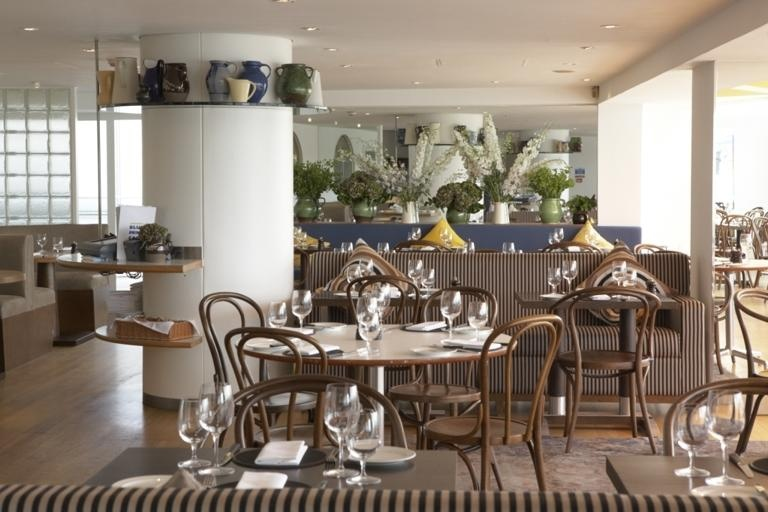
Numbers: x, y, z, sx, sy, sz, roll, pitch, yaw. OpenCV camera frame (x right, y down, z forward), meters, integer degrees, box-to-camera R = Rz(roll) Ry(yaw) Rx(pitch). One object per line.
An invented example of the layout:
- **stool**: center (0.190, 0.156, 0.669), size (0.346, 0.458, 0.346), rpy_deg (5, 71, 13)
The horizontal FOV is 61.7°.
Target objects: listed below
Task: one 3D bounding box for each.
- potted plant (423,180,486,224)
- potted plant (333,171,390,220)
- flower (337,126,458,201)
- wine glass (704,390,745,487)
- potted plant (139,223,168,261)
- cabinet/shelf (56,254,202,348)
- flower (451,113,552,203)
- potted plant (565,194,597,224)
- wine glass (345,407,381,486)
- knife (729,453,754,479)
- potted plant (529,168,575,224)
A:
- **potted plant**: center (0.910, -0.653, 8.423), size (0.598, 0.519, 0.587), rpy_deg (-1, 1, -44)
- **potted plant**: center (-0.334, -0.775, 8.530), size (0.683, 0.636, 0.623), rpy_deg (0, 2, 18)
- **flower**: center (0.227, -1.114, 9.253), size (1.437, 1.145, 1.438), rpy_deg (-5, 0, 30)
- **wine glass**: center (1.084, 0.577, 2.047), size (0.110, 0.267, 0.294), rpy_deg (3, 8, 27)
- **potted plant**: center (-1.754, -0.088, 4.991), size (0.317, 0.316, 0.247), rpy_deg (0, -1, -6)
- **cabinet/shelf**: center (-1.967, 0.350, 5.240), size (0.824, 0.487, 0.814), rpy_deg (2, 2, -4)
- **flower**: center (1.514, -1.331, 8.841), size (1.206, 1.199, 1.088), rpy_deg (-4, 8, -39)
- **potted plant**: center (2.595, -0.620, 8.491), size (0.484, 0.468, 0.397), rpy_deg (0, -5, 3)
- **wine glass**: center (-0.063, 0.582, 2.024), size (0.111, 0.225, 0.174), rpy_deg (-1, 7, 0)
- **knife**: center (1.194, 0.703, 2.140), size (0.028, 0.022, 0.115), rpy_deg (-2, 6, 11)
- **potted plant**: center (2.151, -0.776, 8.401), size (0.589, 0.678, 0.488), rpy_deg (4, 2, 19)
